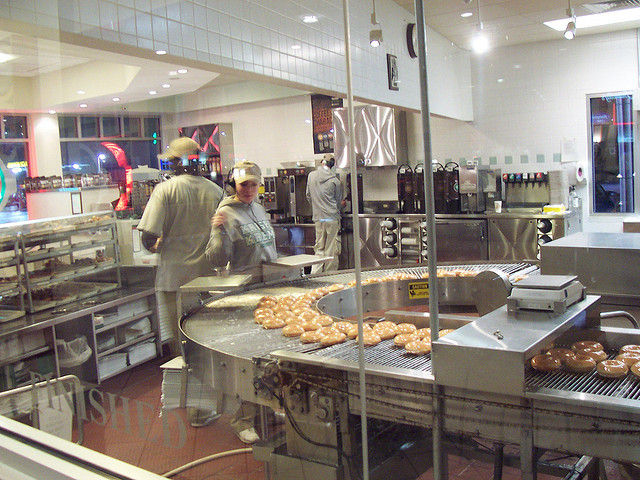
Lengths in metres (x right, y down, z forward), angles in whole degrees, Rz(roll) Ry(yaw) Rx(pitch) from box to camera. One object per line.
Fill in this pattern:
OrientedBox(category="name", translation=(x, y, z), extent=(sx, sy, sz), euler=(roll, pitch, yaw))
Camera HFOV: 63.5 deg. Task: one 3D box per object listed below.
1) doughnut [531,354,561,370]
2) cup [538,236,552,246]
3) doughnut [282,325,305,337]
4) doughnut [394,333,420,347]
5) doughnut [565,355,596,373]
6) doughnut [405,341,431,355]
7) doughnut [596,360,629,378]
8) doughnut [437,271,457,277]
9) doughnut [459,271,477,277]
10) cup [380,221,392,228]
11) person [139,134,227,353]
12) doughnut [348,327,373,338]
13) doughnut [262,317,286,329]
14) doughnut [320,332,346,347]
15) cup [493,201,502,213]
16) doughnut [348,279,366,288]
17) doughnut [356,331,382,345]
OrientedBox(category="doughnut", translation=(0.737, 0.402, 1.688), extent=(0.096, 0.023, 0.098), euler=(-3, 5, 8))
OrientedBox(category="cup", translation=(2.019, 0.000, 4.672), extent=(0.102, 0.048, 0.142), euler=(4, 13, 34))
OrientedBox(category="doughnut", translation=(-0.105, 0.372, 2.110), extent=(0.094, 0.026, 0.076), euler=(4, 13, 35))
OrientedBox(category="doughnut", translation=(0.318, 0.363, 1.909), extent=(0.052, 0.025, 0.052), euler=(-3, 1, -16))
OrientedBox(category="doughnut", translation=(0.848, 0.404, 1.682), extent=(0.090, 0.040, 0.065), euler=(-7, 11, -22))
OrientedBox(category="doughnut", translation=(0.342, 0.377, 1.815), extent=(0.085, 0.050, 0.115), euler=(-2, 11, 8))
OrientedBox(category="doughnut", translation=(0.930, 0.410, 1.643), extent=(0.081, 0.034, 0.091), euler=(6, 14, 42))
OrientedBox(category="doughnut", translation=(0.715, 0.186, 2.913), extent=(0.095, 0.023, 0.154), euler=(-1, 11, 14))
OrientedBox(category="doughnut", translation=(0.822, 0.183, 2.881), extent=(0.086, 0.016, 0.127), euler=(0, 11, 18))
OrientedBox(category="cup", translation=(0.739, -0.180, 5.903), extent=(0.196, 0.070, 0.101), euler=(6, 13, 40))
OrientedBox(category="person", translation=(-0.647, 0.010, 2.488), extent=(0.400, 1.011, 0.183), euler=(-5, 10, -12))
OrientedBox(category="doughnut", translation=(0.156, 0.356, 2.012), extent=(0.057, 0.019, 0.055), euler=(-1, 0, -41))
OrientedBox(category="doughnut", translation=(-0.197, 0.360, 2.239), extent=(0.104, 0.026, 0.076), euler=(-2, 11, 7))
OrientedBox(category="doughnut", translation=(0.049, 0.376, 1.964), extent=(0.108, 0.024, 0.067), euler=(-9, 12, -28))
OrientedBox(category="cup", translation=(1.767, -0.332, 5.155), extent=(0.088, 0.099, 0.090), euler=(0, 4, 0))
OrientedBox(category="doughnut", translation=(0.204, 0.242, 2.851), extent=(0.082, 0.047, 0.066), euler=(-4, -2, 28))
OrientedBox(category="doughnut", translation=(0.201, 0.375, 1.966), extent=(0.069, 0.033, 0.080), euler=(-2, 10, 4))
